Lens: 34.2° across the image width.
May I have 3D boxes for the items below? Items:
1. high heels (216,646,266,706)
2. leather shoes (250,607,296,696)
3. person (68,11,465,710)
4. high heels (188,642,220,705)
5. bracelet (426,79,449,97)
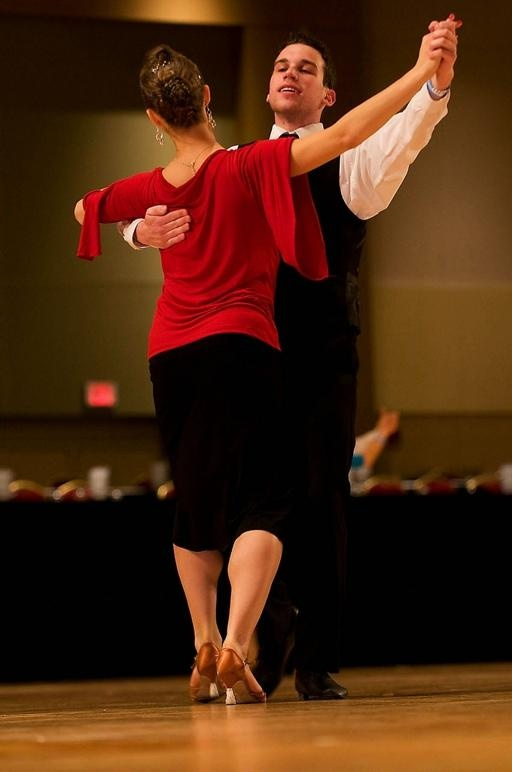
[{"bbox_3d":[-0.024,0.406,1.166,0.049,0.068,0.144,-4,-13,14],"label":"high heels"},{"bbox_3d":[0.031,0.425,1.360,0.062,0.149,0.047,-5,-48,8],"label":"leather shoes"},{"bbox_3d":[-0.003,0.022,1.307,0.381,1.070,0.529,-8,12,-29],"label":"person"},{"bbox_3d":[-0.067,0.425,1.212,0.056,0.064,0.151,2,-31,1],"label":"high heels"},{"bbox_3d":[0.245,-0.388,1.099,0.020,0.010,0.025,4,-20,-2],"label":"bracelet"}]
